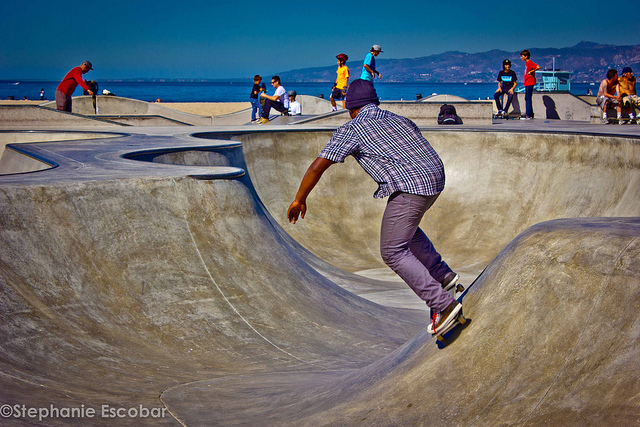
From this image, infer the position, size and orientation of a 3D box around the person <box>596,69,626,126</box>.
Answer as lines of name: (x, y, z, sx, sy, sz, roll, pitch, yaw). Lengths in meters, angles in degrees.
person: (6.975, -2.840, 15.796, 0.753, 1.261, 0.764, -13, 16, -41)

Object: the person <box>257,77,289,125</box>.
person: (-1.446, -3.413, 19.781, 0.944, 1.320, 2.405, -3, 11, -2)

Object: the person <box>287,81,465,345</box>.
person: (0.597, -0.023, 6.042, 1.414, 2.377, 0.659, -1, 12, 11)
